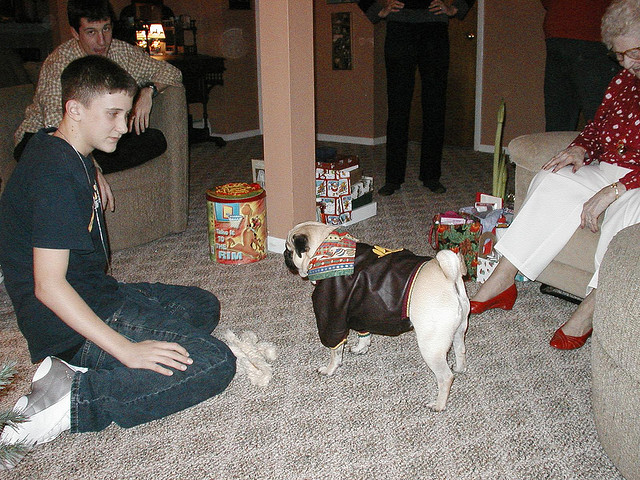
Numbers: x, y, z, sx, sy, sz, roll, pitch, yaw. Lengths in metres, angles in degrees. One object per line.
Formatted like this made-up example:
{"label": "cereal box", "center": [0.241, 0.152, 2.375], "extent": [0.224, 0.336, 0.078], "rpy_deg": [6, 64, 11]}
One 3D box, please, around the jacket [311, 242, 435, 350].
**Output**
{"label": "jacket", "center": [0.193, 0.192, 2.198], "extent": [0.556, 0.367, 0.299], "rpy_deg": [7, 28, 23]}

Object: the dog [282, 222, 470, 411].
{"label": "dog", "center": [0.219, 0.278, 2.207], "extent": [0.829, 0.584, 0.388], "rpy_deg": [10, 18, 37]}

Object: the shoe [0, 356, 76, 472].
{"label": "shoe", "center": [-0.991, 0.623, 1.869], "extent": [0.195, 0.300, 0.294], "rpy_deg": [7, 24, 21]}

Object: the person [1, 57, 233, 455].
{"label": "person", "center": [-0.800, 0.060, 1.890], "extent": [0.819, 1.343, 0.661], "rpy_deg": [-12, 25, -24]}

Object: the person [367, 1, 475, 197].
{"label": "person", "center": [0.800, -1.179, 4.412], "extent": [0.586, 1.547, 0.428], "rpy_deg": [2, 23, 8]}
